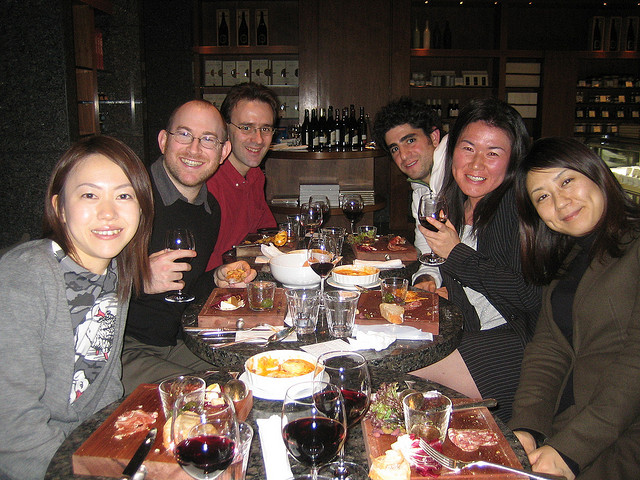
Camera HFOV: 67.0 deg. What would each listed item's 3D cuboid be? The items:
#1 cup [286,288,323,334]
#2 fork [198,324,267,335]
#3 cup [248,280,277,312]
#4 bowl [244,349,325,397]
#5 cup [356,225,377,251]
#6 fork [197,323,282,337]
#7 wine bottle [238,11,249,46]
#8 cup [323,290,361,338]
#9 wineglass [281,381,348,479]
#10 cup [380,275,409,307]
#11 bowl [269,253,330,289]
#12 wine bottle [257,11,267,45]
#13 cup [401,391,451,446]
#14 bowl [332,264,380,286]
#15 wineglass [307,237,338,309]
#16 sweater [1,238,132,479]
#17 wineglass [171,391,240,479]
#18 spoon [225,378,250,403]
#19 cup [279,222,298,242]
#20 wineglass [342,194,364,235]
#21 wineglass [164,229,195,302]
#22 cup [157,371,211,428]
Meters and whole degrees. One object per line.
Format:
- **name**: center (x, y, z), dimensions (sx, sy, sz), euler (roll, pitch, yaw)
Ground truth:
- **cup**: center (-0.058, 0.261, 1.790), dimensions (0.144, 0.158, 0.144), euler (-1, -4, 0)
- **fork**: center (-0.322, 0.335, 1.770), dimensions (0.240, 0.023, 0.082), euler (-4, 11, -1)
- **cup**: center (-0.231, 0.221, 1.911), dimensions (0.121, 0.106, 0.136), euler (0, 0, -2)
- **bowl**: center (-0.124, 0.398, 1.466), dimensions (0.210, 0.066, 0.203), euler (-5, 4, 0)
- **cup**: center (0.262, -0.008, 2.880), dimensions (0.132, 0.136, 0.124), euler (-1, 2, 0)
- **fork**: center (-0.289, 0.326, 1.769), dimensions (0.315, 0.030, 0.076), euler (1, 15, 6)
- **wine bottle**: center (-1.120, -3.072, 7.021), dimensions (0.164, 0.458, 0.080), euler (-3, 15, -9)
- **cup**: center (0.067, 0.265, 1.794), dimensions (0.145, 0.166, 0.149), euler (0, 8, 0)
- **wineglass**: center (-0.007, 0.473, 1.191), dimensions (0.173, 0.214, 0.149), euler (-3, 15, -10)
- **cup**: center (0.307, 0.197, 1.930), dimensions (0.142, 0.117, 0.121), euler (-9, -23, 32)
- **bowl**: center (-0.111, 0.113, 2.150), dimensions (0.187, 0.089, 0.189), euler (1, 1, 0)
- **wine bottle**: center (-0.852, -3.078, 7.038), dimensions (0.136, 0.455, 0.063), euler (-3, 15, -7)
- **cup**: center (0.269, 0.453, 1.213), dimensions (0.106, 0.092, 0.126), euler (0, 0, 2)
- **bowl**: center (0.161, 0.160, 2.189), dimensions (0.207, 0.056, 0.151), euler (0, 15, 2)
- **wineglass**: center (0.009, 0.107, 2.087), dimensions (0.124, 0.237, 0.151), euler (-1, 15, -2)
- **sweater**: center (-0.876, 0.326, 1.531), dimensions (0.281, 0.595, 0.509), euler (2, 15, 11)
- **wineglass**: center (-0.258, 0.448, 1.163), dimensions (0.156, 0.259, 0.169), euler (1, 2, -1)
- **spoon**: center (-0.231, 0.417, 1.339), dimensions (0.051, 0.030, 0.053), euler (3, 39, -6)
- **cup**: center (-0.198, -0.052, 3.006), dimensions (0.118, 0.134, 0.121), euler (-1, 6, 0)
- **wineglass**: center (0.229, -0.171, 3.390), dimensions (0.135, 0.301, 0.350), euler (0, 15, 4)
- **wineglass**: center (-0.631, 0.125, 2.155), dimensions (0.145, 0.327, 0.302), euler (-5, 15, -17)
- **cup**: center (-0.350, 0.401, 1.221), dimensions (0.108, 0.122, 0.120), euler (1, 4, 2)
